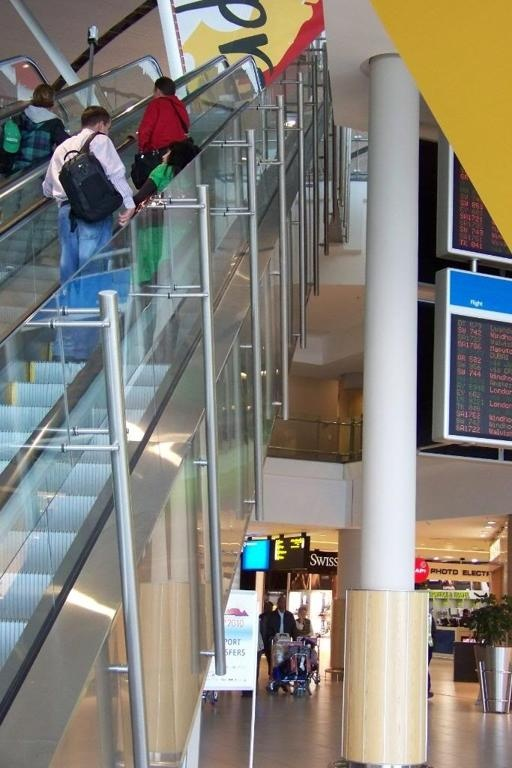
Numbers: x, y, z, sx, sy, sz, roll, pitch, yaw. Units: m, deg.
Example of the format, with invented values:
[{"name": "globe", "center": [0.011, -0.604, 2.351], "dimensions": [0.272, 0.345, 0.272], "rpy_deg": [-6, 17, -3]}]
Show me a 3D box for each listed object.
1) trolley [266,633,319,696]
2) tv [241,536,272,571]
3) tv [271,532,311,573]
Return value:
[{"name": "trolley", "center": [0.786, 5.442, 12.489], "dimensions": [0.841, 1.403, 1.483], "rpy_deg": [1, -3, 10]}, {"name": "tv", "center": [0.004, 4.338, 16.209], "dimensions": [0.733, 0.833, 0.669], "rpy_deg": [0, -4, 13]}, {"name": "tv", "center": [0.893, 4.316, 16.292], "dimensions": [0.335, 1.044, 1.506], "rpy_deg": [3, -5, -28]}]
